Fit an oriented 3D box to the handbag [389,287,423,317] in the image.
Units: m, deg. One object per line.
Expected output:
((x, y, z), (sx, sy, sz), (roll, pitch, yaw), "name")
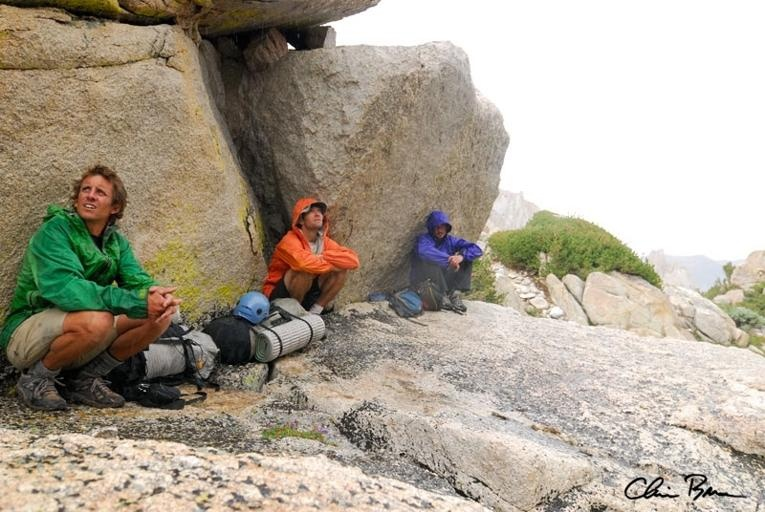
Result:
((0.306, 0.609, 7.695), (0.359, 0.367, 0.470), (19, -3, -19), "handbag")

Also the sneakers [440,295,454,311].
((0.872, 0.629, 7.953), (0.139, 0.071, 0.185), (20, 13, -2), "sneakers")

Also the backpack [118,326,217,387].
((-1.995, 0.922, 5.425), (0.893, 0.351, 0.560), (-3, 5, -34), "backpack")

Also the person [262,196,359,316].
((-0.842, 0.062, 6.702), (1.099, 1.405, 0.936), (3, 7, 27), "person")

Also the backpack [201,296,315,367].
((-1.224, 0.706, 5.834), (0.651, 0.244, 0.651), (-2, 7, 34), "backpack")

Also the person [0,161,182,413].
((-2.266, 0.280, 4.647), (1.146, 2.115, 0.600), (19, -3, -18), "person")

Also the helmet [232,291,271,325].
((-1.287, 0.546, 6.075), (0.344, 0.284, 0.269), (27, -14, -26), "helmet")

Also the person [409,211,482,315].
((0.793, 0.025, 8.159), (0.797, 1.351, 0.900), (-3, -1, -34), "person")
